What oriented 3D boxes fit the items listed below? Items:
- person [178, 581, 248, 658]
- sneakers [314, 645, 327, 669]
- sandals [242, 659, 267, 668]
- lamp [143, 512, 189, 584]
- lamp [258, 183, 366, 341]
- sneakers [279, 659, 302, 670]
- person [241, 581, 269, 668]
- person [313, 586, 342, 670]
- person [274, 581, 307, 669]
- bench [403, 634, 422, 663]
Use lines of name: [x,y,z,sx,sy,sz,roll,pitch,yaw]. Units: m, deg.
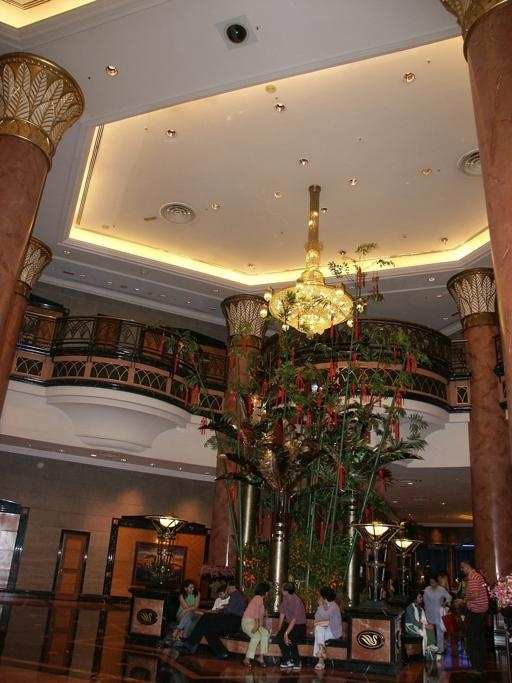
person: [-0.427,2.982,5.692,0.564,0.795,0.297,23,-40,-6]
sneakers: [0.658,3.203,5.303,0.121,0.153,0.395,-3,-32,6]
sandals: [-0.031,3.165,5.154,0.096,0.106,0.276,23,-36,-36]
lamp: [-1.395,3.180,7.867,0.530,1.062,1.861,6,-19,-8]
lamp: [0.797,-1.352,7.630,1.240,2.989,1.689,1,-20,7]
sneakers: [0.324,3.140,5.064,0.163,0.062,0.089,-4,-32,23]
person: [-0.014,2.821,5.215,0.258,0.743,0.406,0,-20,8]
person: [0.730,2.943,5.381,0.296,0.756,0.553,0,-20,8]
person: [0.330,2.797,5.135,0.273,0.770,0.422,0,-20,10]
bench: [1.826,3.636,6.156,0.192,0.276,0.811,-5,-20,22]
